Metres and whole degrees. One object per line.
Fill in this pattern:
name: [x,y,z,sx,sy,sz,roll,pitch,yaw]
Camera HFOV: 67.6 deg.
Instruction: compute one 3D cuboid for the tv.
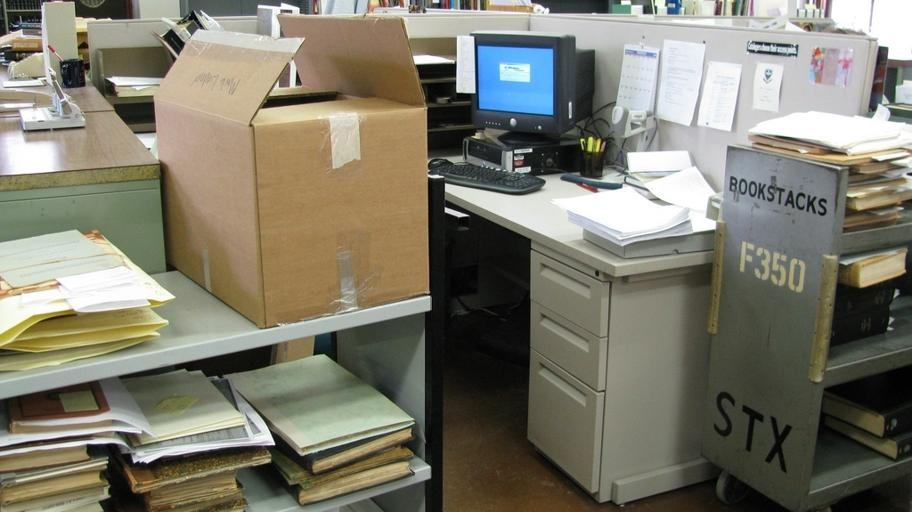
tv: [0.439,-0.857,3.611,0.676,0.513,0.562,13,24,38]
